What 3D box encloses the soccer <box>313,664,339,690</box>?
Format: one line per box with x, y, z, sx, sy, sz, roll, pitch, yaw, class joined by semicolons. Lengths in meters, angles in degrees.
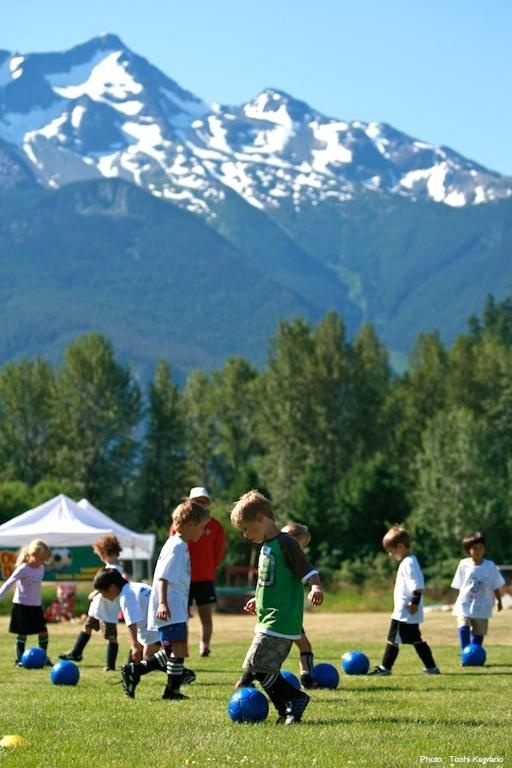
0.782;3.284;18.717;0.224;0.306;0.257;1;-43;11;soccer

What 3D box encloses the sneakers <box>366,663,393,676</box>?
1.484;3.414;19.742;0.286;0.157;0.116;4;-9;0;sneakers

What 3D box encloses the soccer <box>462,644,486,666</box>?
2.734;3.404;20.711;0.300;0.273;0.332;2;-5;6;soccer

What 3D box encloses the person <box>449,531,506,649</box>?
2.817;2.643;21.055;0.597;1.439;0.420;2;-5;1;person

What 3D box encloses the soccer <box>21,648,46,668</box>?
-2.832;3.433;20.596;0.230;0.267;0.276;-11;-17;38;soccer

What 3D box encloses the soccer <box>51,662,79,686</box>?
-2.211;3.318;18.914;0.251;0.268;0.289;26;1;24;soccer

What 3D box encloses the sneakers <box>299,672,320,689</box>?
0.571;3.357;18.606;0.141;0.225;0.066;-11;3;18;sneakers

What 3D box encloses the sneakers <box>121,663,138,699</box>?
-1.407;3.205;17.886;0.172;0.447;0.148;-3;1;-1;sneakers

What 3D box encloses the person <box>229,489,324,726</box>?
0.470;2.227;18.525;0.967;3.006;0.939;-15;34;-5;person

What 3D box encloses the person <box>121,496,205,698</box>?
-0.952;2.347;17.906;0.589;2.203;0.829;2;0;34;person

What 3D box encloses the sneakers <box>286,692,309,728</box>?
0.403;3.247;16.738;0.164;0.423;0.129;14;-7;-14;sneakers

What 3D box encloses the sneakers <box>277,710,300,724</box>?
0.304;3.387;16.728;0.239;0.108;0.276;3;-5;1;sneakers

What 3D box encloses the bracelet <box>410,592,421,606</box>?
1.893;2.533;19.472;0.129;0.164;0.145;1;-18;12;bracelet
